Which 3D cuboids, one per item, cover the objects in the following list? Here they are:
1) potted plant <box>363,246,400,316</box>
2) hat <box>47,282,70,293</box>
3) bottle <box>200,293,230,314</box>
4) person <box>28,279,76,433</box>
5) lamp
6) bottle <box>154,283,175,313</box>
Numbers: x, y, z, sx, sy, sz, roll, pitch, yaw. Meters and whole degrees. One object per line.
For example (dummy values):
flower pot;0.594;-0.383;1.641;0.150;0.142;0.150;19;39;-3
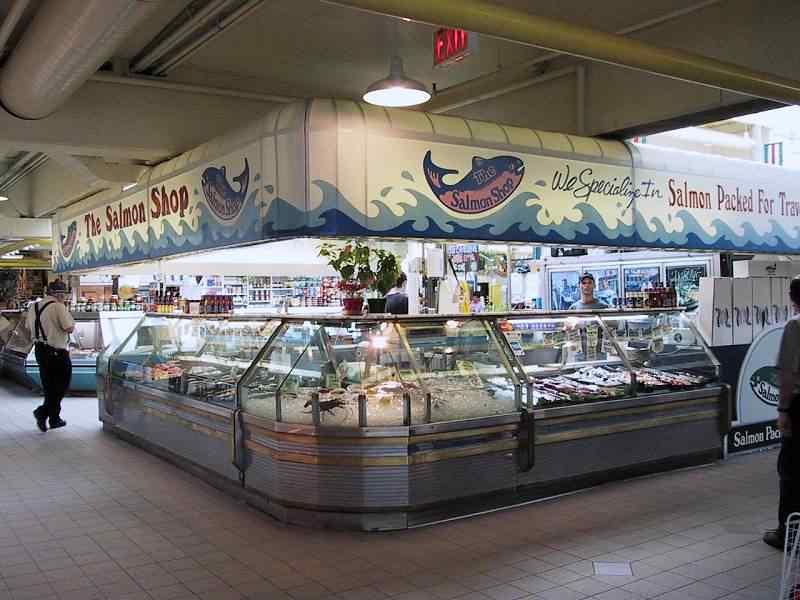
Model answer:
potted plant;-0.185;-0.158;5.844;0.346;0.606;0.426;9;-10;-1
hat;-4.791;-0.178;8.347;0.179;0.119;0.236;0;0;-15
bottle;-2.140;0.032;6.960;0.272;0.160;0.276;1;5;0
person;-4.887;0.749;8.365;0.558;2.064;0.586;-2;3;-31
lamp;-0.048;-2.138;5.806;0.538;0.463;0.560;-3;4;-29
bottle;-3.370;-0.033;8.547;0.202;0.343;0.125;-3;-16;2
